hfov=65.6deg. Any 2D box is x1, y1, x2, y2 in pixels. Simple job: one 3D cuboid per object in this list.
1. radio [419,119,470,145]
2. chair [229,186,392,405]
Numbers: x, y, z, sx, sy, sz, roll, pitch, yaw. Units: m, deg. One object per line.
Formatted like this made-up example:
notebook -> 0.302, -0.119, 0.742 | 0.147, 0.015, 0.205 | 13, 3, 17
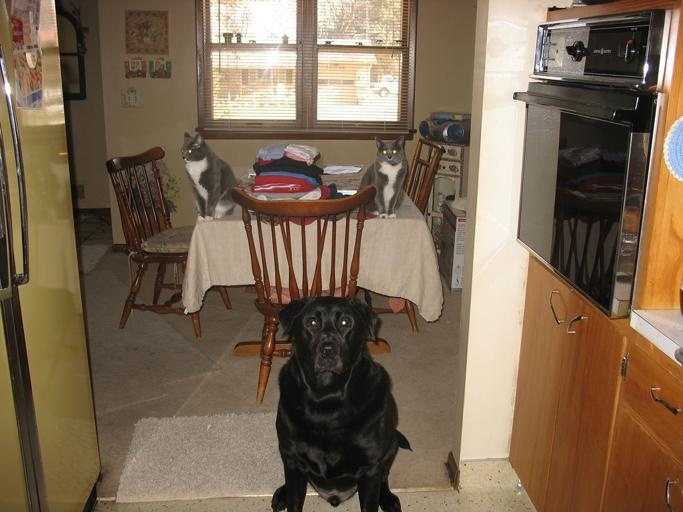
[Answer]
radio -> 0.853, -1.028, 4.384 | 0.202, 0.187, 0.552 | -12, 21, -29
chair -> -0.208, 0.100, 2.978 | 1.019, 1.303, 0.914 | 0, 24, -1
